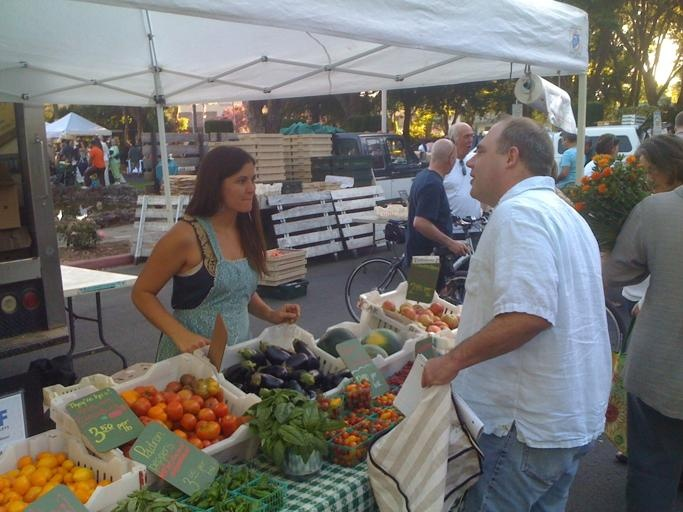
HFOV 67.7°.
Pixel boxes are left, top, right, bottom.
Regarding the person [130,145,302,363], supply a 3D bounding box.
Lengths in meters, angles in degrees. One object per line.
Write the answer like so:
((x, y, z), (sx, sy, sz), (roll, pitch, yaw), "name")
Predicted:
((-0.845, 0.028, 3.300), (0.725, 1.834, 0.694), (3, 5, 33), "person")

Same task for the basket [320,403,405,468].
((0.103, 0.882, 2.590), (0.190, 0.077, 0.355), (0, 16, 26), "basket")

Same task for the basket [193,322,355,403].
((-0.385, 0.618, 3.071), (0.677, 0.342, 0.634), (-7, 14, -40), "basket")

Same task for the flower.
((1.946, -0.463, 3.704), (0.415, 0.616, 0.440), (13, 18, 40), "flower")

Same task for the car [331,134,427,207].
((0.834, -2.192, 14.108), (3.802, 2.306, 2.148), (-11, 12, -39), "car")

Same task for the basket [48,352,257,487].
((-0.836, 0.724, 2.629), (0.914, 0.518, 0.941), (6, 10, 38), "basket")

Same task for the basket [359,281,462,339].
((0.528, 0.385, 4.042), (0.626, 0.356, 0.566), (10, 17, 41), "basket")

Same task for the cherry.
((0.072, 0.838, 2.666), (0.417, 0.313, 0.338), (13, 14, 33), "cherry")
